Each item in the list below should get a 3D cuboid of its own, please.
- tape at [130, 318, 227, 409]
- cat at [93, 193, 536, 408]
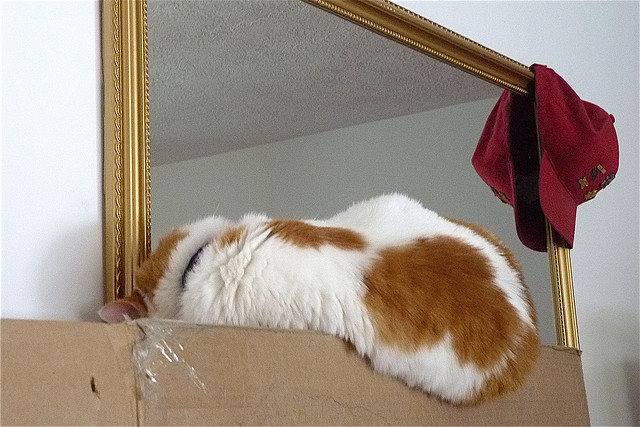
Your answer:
[{"bbox_3d":[-0.208,0.224,1.114,0.147,0.128,0.011,5,-6,-20],"label":"tape"},{"bbox_3d":[0.059,0.120,1.287,0.584,0.197,0.392,3,22,-14],"label":"cat"}]
